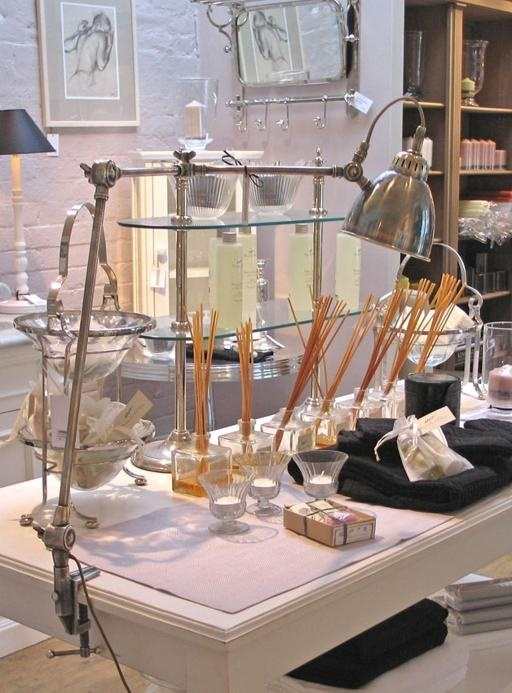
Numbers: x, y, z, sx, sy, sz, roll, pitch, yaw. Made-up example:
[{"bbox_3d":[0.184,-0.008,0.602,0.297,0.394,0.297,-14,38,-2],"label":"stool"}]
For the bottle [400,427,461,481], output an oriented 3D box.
[{"bbox_3d":[0.293,0.177,1.030,0.087,0.032,0.093,-2,14,0],"label":"bottle"}]
